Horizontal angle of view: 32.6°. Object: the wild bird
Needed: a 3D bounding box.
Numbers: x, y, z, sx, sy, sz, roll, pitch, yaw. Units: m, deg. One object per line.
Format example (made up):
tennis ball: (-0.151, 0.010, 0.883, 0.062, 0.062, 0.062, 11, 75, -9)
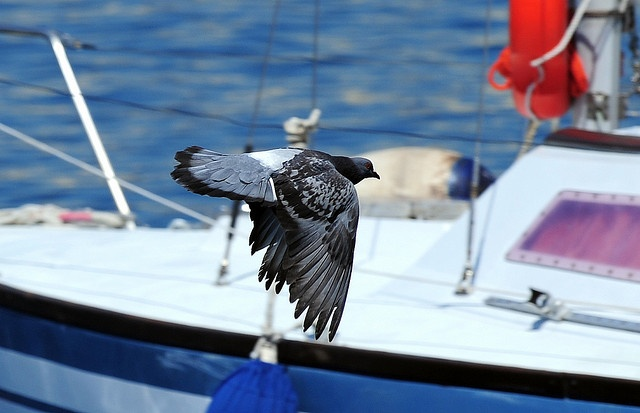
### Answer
wild bird: (-0.221, 0.220, 5.825, 1.220, 0.663, 0.944, 24, 10, -28)
